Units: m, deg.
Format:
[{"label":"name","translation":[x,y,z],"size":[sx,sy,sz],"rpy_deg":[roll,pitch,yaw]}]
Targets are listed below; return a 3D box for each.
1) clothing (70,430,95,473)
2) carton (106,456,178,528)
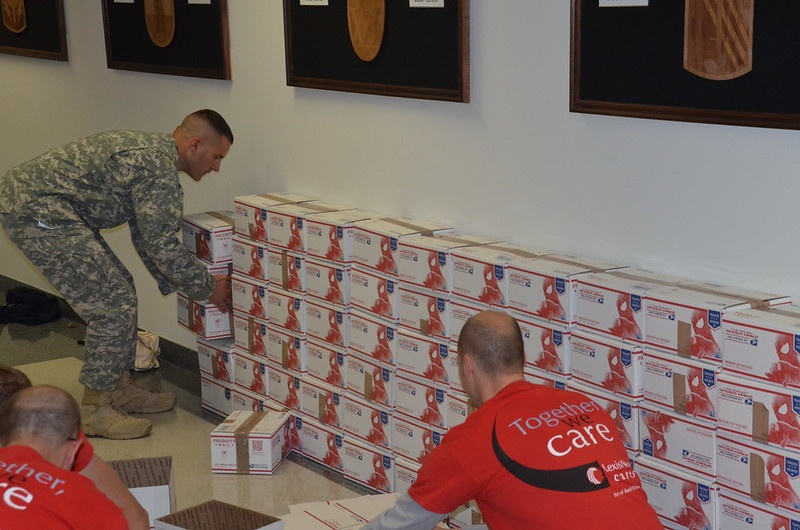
[{"label":"clothing","translation":[-1.199,0.718,2.899],"size":[0.111,0.146,0.116],"rpy_deg":[15,-27,-29]},{"label":"carton","translation":[-1.171,1.028,3.476],"size":[0.274,0.177,0.279],"rpy_deg":[-5,3,1]}]
